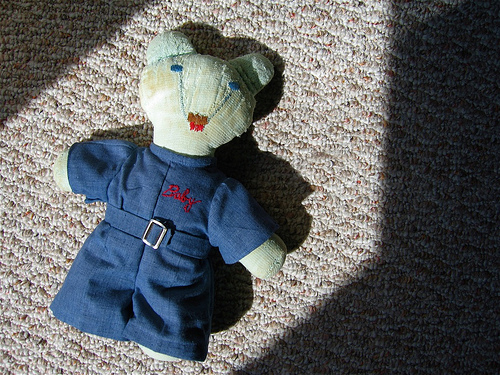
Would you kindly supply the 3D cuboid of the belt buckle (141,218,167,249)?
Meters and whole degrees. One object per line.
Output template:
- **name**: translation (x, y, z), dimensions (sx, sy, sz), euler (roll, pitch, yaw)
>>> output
- **belt buckle**: translation (-0.194, 0.091, 1.244), dimensions (0.043, 0.017, 0.060), euler (27, 95, 9)

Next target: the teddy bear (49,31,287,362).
- **teddy bear**: translation (-0.199, 0.006, 1.308), dimensions (0.480, 0.186, 0.667), euler (22, 88, -2)
